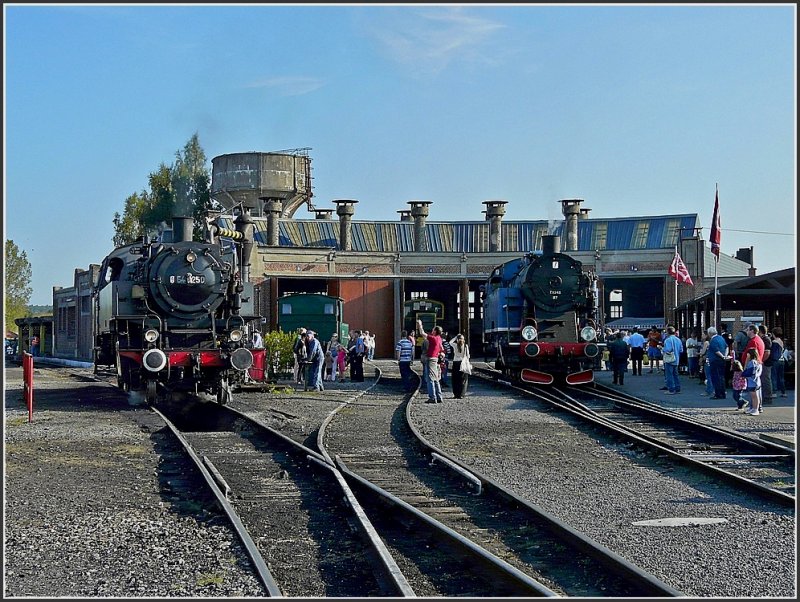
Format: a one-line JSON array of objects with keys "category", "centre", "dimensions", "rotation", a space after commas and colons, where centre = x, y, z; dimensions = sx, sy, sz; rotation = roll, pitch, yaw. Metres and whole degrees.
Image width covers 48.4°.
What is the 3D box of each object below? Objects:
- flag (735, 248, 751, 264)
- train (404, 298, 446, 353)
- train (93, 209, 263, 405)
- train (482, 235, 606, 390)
[{"category": "flag", "centre": [31.452, -3.969, 81.061], "dimensions": [0.740, 1.451, 3.758], "rotation": [-2, -3, 11]}, {"category": "train", "centre": [1.390, 2.408, 54.543], "dimensions": [2.444, 3.179, 4.973], "rotation": [0, -28, -1]}, {"category": "train", "centre": [-6.659, 0.430, 22.670], "dimensions": [3.197, 5.046, 8.853], "rotation": [1, -6, -19]}, {"category": "train", "centre": [3.973, 0.349, 25.668], "dimensions": [2.426, 4.202, 4.517], "rotation": [-1, -3, -7]}]
